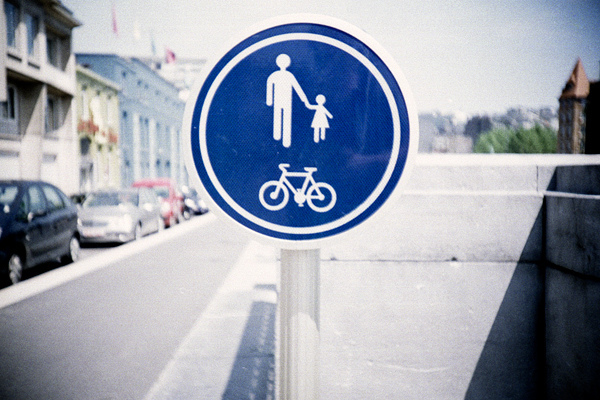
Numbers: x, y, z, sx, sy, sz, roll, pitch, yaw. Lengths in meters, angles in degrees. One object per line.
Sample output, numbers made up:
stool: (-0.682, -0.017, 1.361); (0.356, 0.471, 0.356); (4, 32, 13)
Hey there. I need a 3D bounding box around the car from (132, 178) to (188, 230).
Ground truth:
car: (-5.094, 0.027, 28.745); (1.089, 1.184, 2.602); (-1, -7, 2)
